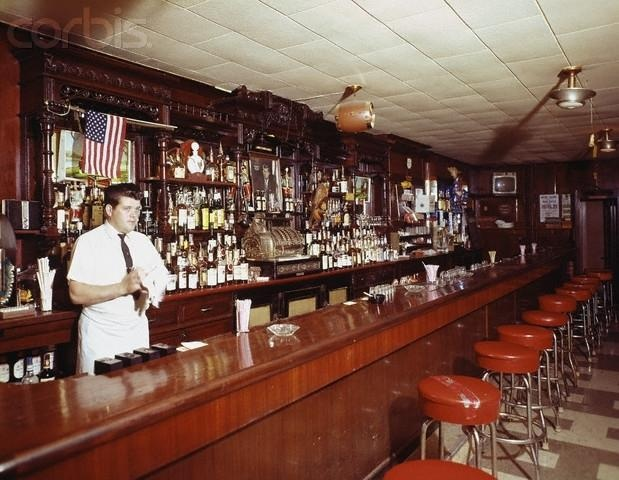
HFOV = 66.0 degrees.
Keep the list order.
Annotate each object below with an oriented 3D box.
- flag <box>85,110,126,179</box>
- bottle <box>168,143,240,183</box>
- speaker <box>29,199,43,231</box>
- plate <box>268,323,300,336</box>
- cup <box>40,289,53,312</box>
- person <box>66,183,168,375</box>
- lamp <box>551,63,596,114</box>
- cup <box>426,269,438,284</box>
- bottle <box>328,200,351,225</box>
[{"bbox_3d":[-1.859,-0.861,4.343,0.113,0.584,0.388,1,5,41],"label":"flag"},{"bbox_3d":[-1.183,-0.847,5.309,0.140,0.334,0.613,0,2,33],"label":"bottle"},{"bbox_3d":[-2.303,-0.204,4.041,0.061,0.241,0.159,-2,4,-3],"label":"speaker"},{"bbox_3d":[-0.166,0.558,3.014,0.170,0.063,0.265,-2,3,-13],"label":"plate"},{"bbox_3d":[-2.161,0.509,3.928,0.073,0.175,0.091,-4,4,-30],"label":"cup"},{"bbox_3d":[-1.291,0.268,3.279,0.649,1.332,0.843,-4,4,-26],"label":"person"},{"bbox_3d":[2.744,-1.610,4.987,0.414,0.356,0.385,0,7,16],"label":"lamp"},{"bbox_3d":[1.225,0.367,4.717,0.142,0.127,0.138,-1,4,0],"label":"cup"},{"bbox_3d":[0.460,-0.414,7.239,0.350,0.366,0.117,6,-13,-18],"label":"bottle"}]
